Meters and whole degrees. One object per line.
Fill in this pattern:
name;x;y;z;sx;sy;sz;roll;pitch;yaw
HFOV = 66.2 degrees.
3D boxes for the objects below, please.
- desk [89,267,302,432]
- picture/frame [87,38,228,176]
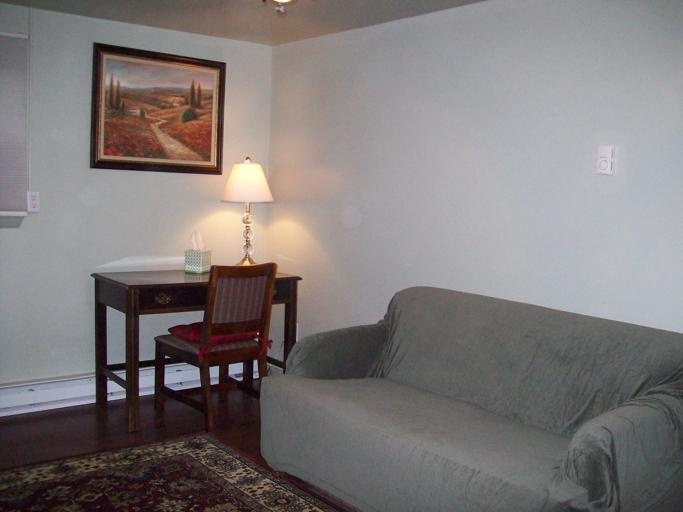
desk;-0.826;0.518;3.395;0.697;1.027;0.765;1;3;-23
picture/frame;-1.400;-1.116;3.861;1.007;0.937;0.076;-4;11;-33
